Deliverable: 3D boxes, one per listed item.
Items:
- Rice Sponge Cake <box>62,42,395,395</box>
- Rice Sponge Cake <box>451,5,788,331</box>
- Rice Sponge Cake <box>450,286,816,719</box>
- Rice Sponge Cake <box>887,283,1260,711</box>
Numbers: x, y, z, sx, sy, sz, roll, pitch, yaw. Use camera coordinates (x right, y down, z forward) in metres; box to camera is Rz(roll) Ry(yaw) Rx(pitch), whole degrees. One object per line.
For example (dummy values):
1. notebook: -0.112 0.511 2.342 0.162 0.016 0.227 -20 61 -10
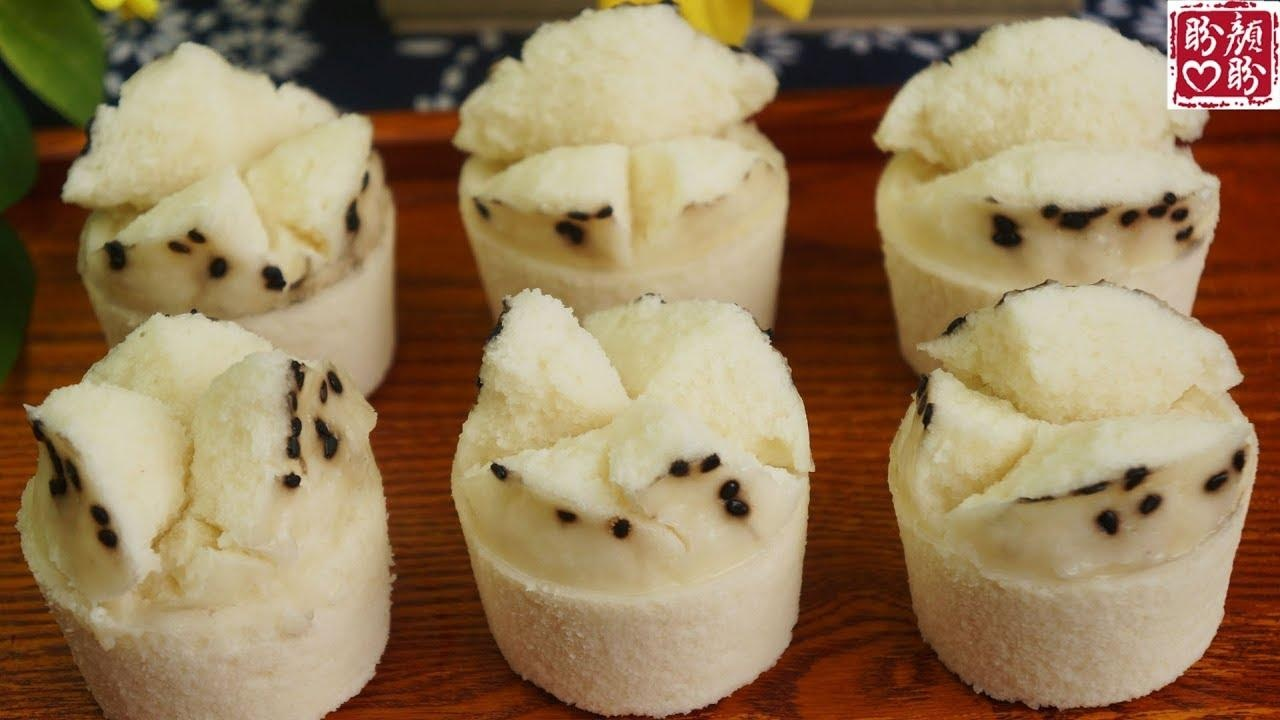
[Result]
1. Rice Sponge Cake: -0.578 -0.206 2.344 0.444 0.414 0.416 -11 64 -5
2. Rice Sponge Cake: 0.000 -0.286 2.387 0.490 0.420 0.439 -9 39 0
3. Rice Sponge Cake: 0.026 0.177 2.126 0.547 0.464 0.497 7 46 8
4. Rice Sponge Cake: 0.559 0.161 2.113 0.470 0.416 0.453 9 41 20
